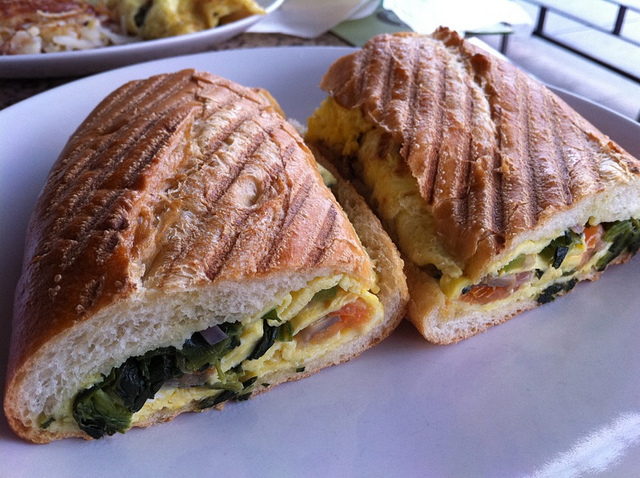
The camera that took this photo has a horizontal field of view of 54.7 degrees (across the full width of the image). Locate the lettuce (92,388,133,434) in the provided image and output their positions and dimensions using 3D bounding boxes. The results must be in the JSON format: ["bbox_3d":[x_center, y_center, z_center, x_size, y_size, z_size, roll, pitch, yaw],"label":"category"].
[{"bbox_3d":[-0.851,0.704,2.532,0.145,0.160,0.082,16,43,16],"label":"lettuce"}]

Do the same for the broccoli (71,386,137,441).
[{"bbox_3d":[-0.885,0.709,2.538,0.246,0.199,0.124,-10,42,-12],"label":"broccoli"}]

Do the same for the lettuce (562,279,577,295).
[{"bbox_3d":[1.231,0.233,3.058,0.068,0.073,0.021,-42,71,-1],"label":"lettuce"}]
